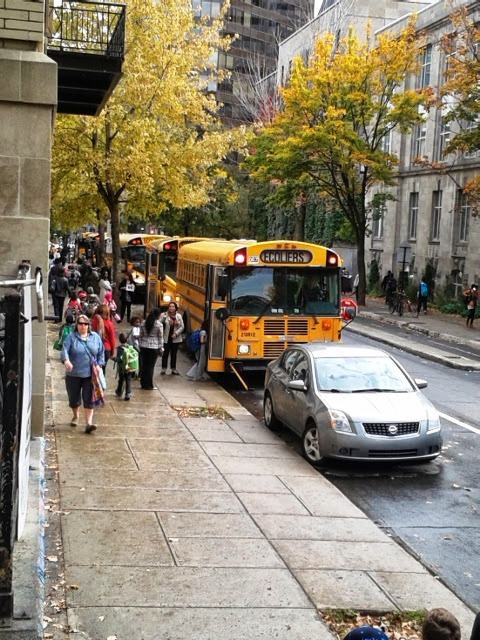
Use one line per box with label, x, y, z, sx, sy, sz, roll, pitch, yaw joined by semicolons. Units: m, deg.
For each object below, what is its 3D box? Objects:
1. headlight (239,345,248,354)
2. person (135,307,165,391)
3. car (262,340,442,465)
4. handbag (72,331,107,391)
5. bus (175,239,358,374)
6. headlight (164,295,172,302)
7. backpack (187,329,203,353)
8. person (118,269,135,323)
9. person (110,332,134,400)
headlight;0.086;0.759;13.784;0.187;0.214;0.047;0;-1;-12
person;-2.266;0.708;12.990;0.675;1.987;1.156;5;0;-10
car;1.815;1.402;8.871;1.867;1.963;2.906;6;0;-28
handbag;-2.442;0.699;8.815;0.431;0.887;0.649;5;0;27
bus;0.099;-0.618;16.515;3.316;3.217;6.082;-1;2;-17
headlight;-3.128;-0.946;22.683;0.123;0.296;0.537;5;1;-33
backpack;-1.279;0.573;14.487;0.493;0.541;0.405;-3;13;-13
person;-5.145;-1.027;23.463;0.613;2.258;1.526;5;0;-14
person;-2.662;1.021;11.794;0.468;1.414;1.196;5;0;-12
